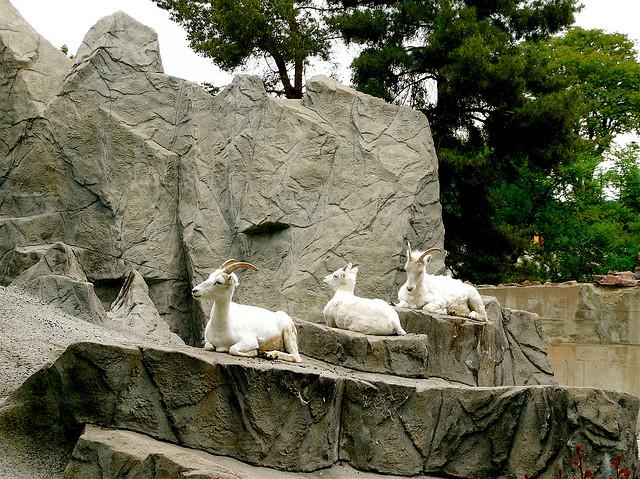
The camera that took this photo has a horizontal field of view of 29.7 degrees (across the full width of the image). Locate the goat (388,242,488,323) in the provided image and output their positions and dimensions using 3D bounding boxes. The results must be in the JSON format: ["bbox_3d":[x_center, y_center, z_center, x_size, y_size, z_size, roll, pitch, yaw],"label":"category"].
[{"bbox_3d":[2.767,1.030,27.115,1.974,1.398,0.864,16,-14,-18],"label":"goat"}]

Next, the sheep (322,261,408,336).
[{"bbox_3d":[0.947,1.324,26.316,2.492,1.628,1.019,11,-2,44],"label":"sheep"}]

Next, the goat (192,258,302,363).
[{"bbox_3d":[-1.451,1.444,24.209,2.199,1.797,0.859,13,-13,-7],"label":"goat"}]
